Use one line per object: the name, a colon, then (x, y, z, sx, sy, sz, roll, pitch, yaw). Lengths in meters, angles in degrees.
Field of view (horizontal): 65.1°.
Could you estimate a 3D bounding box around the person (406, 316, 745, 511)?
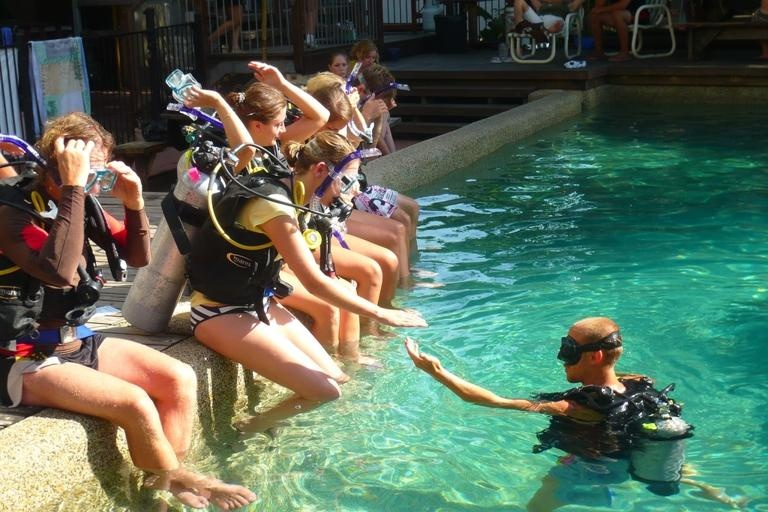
person: (1.171, 0.868, 3.323, 1.485, 0.987, 0.707, 4, 18, 23)
